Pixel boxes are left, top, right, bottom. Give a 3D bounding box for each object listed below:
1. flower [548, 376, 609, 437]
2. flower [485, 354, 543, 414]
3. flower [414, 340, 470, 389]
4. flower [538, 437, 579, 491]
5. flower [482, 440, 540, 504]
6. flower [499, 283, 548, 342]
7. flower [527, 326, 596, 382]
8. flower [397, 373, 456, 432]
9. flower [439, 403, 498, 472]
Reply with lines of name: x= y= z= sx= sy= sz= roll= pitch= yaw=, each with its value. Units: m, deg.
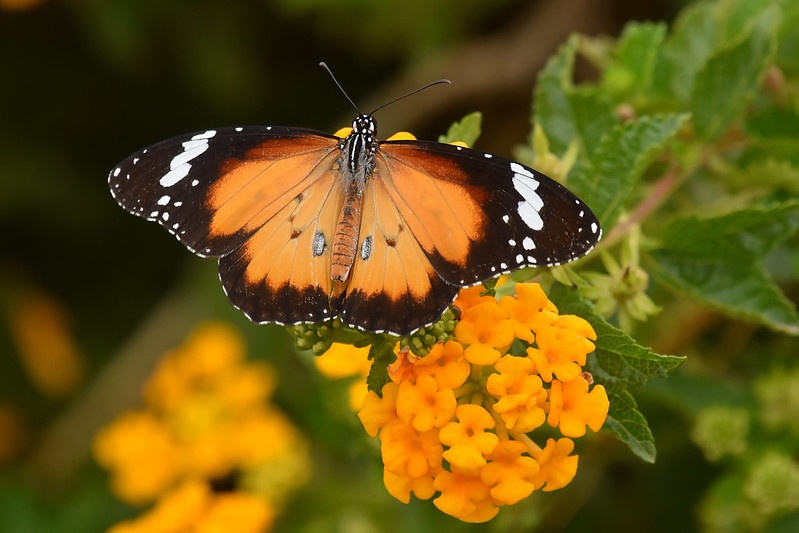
flower: x=0.547 y=0.416 z=2.469 sx=0.212 sy=0.112 sz=0.145 roll=-10 pitch=47 yaw=-11
flower: x=0.347 y=0.355 z=2.458 sx=0.167 sy=0.116 sz=0.130 roll=-8 pitch=46 yaw=-9
flower: x=0.142 y=0.302 z=2.477 sx=0.137 sy=0.057 sz=0.158 roll=2 pitch=72 yaw=-4
flower: x=0.485 y=0.602 z=2.514 sx=0.123 sy=0.133 sz=0.123 roll=1 pitch=45 yaw=1
flower: x=0.327 y=0.611 z=2.466 sx=0.170 sy=0.219 sz=0.052 roll=-8 pitch=24 yaw=10
flower: x=0.365 y=0.144 z=2.542 sx=0.161 sy=0.208 sz=0.082 roll=10 pitch=36 yaw=0
flower: x=0.494 y=0.265 z=2.468 sx=0.158 sy=0.070 sz=0.174 roll=23 pitch=72 yaw=7
flower: x=0.075 y=0.409 z=2.446 sx=0.170 sy=0.103 sz=0.115 roll=20 pitch=48 yaw=17
flower: x=0.220 y=0.515 z=2.491 sx=0.228 sy=0.086 sz=0.303 roll=-1 pitch=13 yaw=2
